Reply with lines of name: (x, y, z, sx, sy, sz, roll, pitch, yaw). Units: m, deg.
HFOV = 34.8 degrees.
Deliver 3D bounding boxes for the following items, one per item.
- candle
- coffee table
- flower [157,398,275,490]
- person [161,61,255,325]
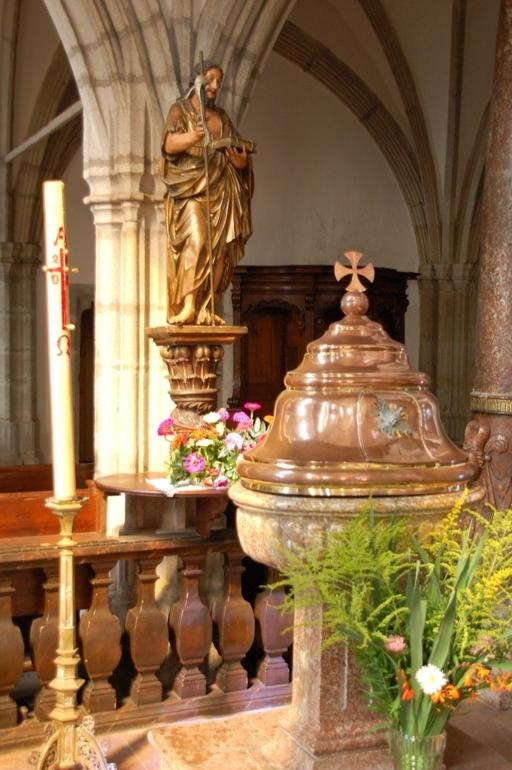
candle: (-0.457, -0.123, 1.886, 0.068, 0.764, 0.220, 0, -2, -13)
coffee table: (-0.488, 0.760, 4.150, 0.825, 0.544, 0.786, 0, 2, -25)
flower: (-0.170, 0.247, 3.461, 0.420, 0.262, 0.406, -2, 1, 18)
person: (-0.235, -0.896, 3.947, 0.451, 1.189, 0.474, 0, -2, -3)
